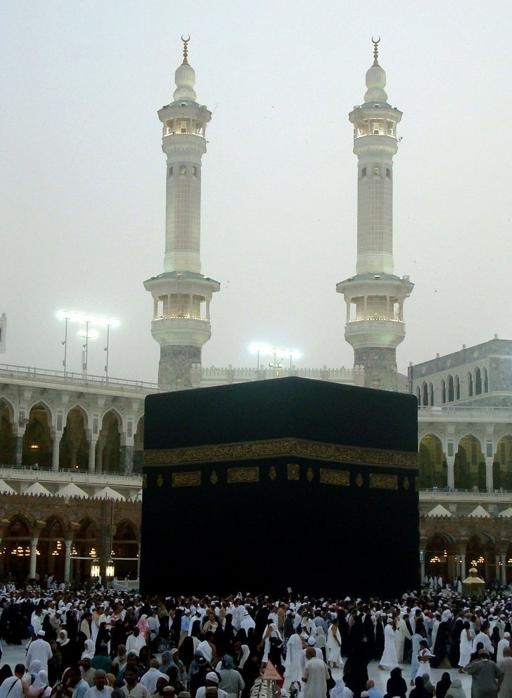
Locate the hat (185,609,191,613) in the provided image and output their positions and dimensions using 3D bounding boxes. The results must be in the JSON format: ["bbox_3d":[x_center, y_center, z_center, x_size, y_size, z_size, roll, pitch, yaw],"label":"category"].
[{"bbox_3d":[-0.992,3.867,15.280,0.050,0.026,0.071,5,8,10],"label":"hat"}]

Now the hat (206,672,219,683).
[{"bbox_3d":[-0.348,2.586,8.157,0.109,0.093,0.081,-2,-17,26],"label":"hat"}]
